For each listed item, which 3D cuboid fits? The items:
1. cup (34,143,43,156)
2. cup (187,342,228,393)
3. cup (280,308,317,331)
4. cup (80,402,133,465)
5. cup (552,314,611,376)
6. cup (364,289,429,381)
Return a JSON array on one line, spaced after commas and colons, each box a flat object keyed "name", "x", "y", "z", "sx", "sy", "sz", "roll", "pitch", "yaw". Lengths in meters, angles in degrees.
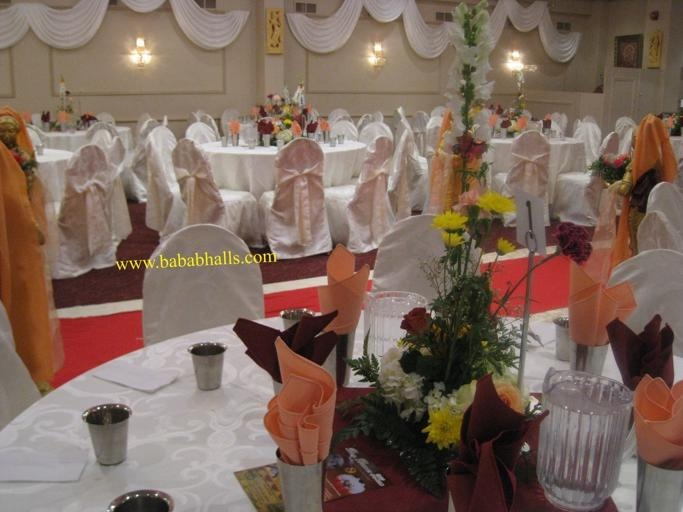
[{"name": "cup", "x": -2.759, "y": -0.952, "z": 5.128, "sx": 0.096, "sy": 0.118, "sz": 0.116, "roll": 1, "pitch": -1, "yaw": -30}, {"name": "cup", "x": -0.369, "y": 0.309, "z": 1.553, "sx": 0.105, "sy": 0.124, "sz": 0.115, "roll": -1, "pitch": 0, "yaw": 0}, {"name": "cup", "x": -0.132, "y": 0.171, "z": 1.563, "sx": 0.072, "sy": 0.061, "sz": 0.079, "roll": -2, "pitch": 13, "yaw": -7}, {"name": "cup", "x": -0.528, "y": 0.398, "z": 1.303, "sx": 0.113, "sy": 0.124, "sz": 0.122, "roll": 0, "pitch": -3, "yaw": 0}, {"name": "cup", "x": 0.646, "y": 0.263, "z": 1.562, "sx": 0.143, "sy": 0.129, "sz": 0.138, "roll": 7, "pitch": 12, "yaw": -1}, {"name": "cup", "x": 0.145, "y": 0.220, "z": 1.606, "sx": 0.157, "sy": 0.202, "sz": 0.172, "roll": 1, "pitch": 15, "yaw": 0}]
